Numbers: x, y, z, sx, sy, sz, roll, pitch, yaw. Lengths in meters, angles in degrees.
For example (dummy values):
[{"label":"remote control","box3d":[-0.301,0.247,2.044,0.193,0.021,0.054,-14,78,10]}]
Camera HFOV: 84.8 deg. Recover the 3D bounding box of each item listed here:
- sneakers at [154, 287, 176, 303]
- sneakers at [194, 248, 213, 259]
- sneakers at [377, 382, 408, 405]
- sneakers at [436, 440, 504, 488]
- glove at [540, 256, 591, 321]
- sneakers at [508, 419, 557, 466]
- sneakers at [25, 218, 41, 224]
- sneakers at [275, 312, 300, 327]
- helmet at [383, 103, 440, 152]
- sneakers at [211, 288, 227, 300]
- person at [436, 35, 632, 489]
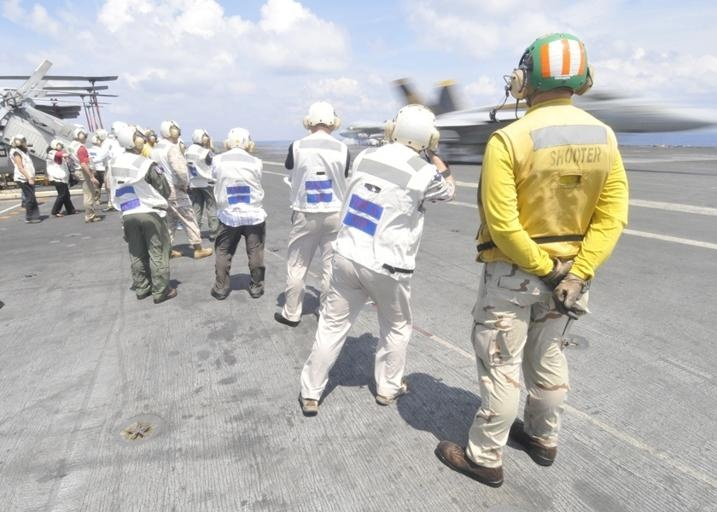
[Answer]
[{"label":"sneakers","box3d":[-2.476,0.492,5.061,0.274,0.175,0.104,-31,66,-22]},{"label":"sneakers","box3d":[-2.697,-0.036,6.771,0.085,0.164,0.254,20,31,35]},{"label":"sneakers","box3d":[0.286,1.146,3.302,0.317,0.114,0.105,-24,35,-30]},{"label":"sneakers","box3d":[0.712,1.405,2.729,0.480,0.192,0.171,28,4,28]},{"label":"glove","box3d":[1.219,0.212,2.428,0.359,0.327,0.149,3,-19,-28]},{"label":"sneakers","box3d":[1.178,1.315,2.815,0.136,0.142,0.357,-3,25,-24]},{"label":"sneakers","box3d":[-8.246,-0.881,9.953,0.296,0.114,0.143,0,6,38]},{"label":"sneakers","box3d":[-0.811,0.703,4.436,0.300,0.115,0.116,18,26,28]},{"label":"helmet","box3d":[0.386,-0.948,2.959,0.396,0.345,0.235,-1,20,3]},{"label":"sneakers","box3d":[-1.790,0.491,5.026,0.220,0.188,0.127,3,13,-5]},{"label":"person","box3d":[1.082,0.079,2.497,1.147,2.773,0.728,-20,27,-40]}]
